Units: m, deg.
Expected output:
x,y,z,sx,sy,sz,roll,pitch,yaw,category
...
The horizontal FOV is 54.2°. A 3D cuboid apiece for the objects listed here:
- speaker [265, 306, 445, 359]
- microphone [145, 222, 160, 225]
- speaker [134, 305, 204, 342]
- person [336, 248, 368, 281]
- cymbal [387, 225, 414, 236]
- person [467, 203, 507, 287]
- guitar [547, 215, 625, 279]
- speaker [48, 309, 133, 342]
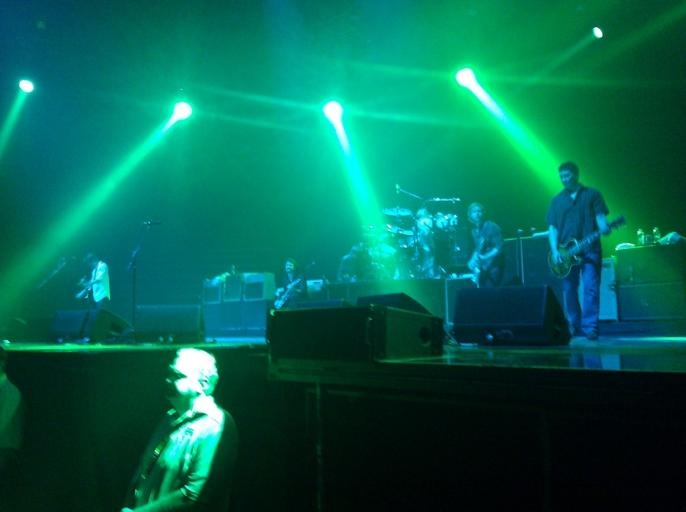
x,y,z,sx,sy,sz,roll,pitch,yaw,category
-0.037,0.544,4.727,0.629,0.254,0.654,-4,-7,39,speaker
-2.599,-0.451,9.063,0.092,0.049,0.106,-8,6,-27,microphone
-1.773,0.682,6.824,0.696,0.386,0.187,2,-11,-22,speaker
0.190,0.126,10.923,0.291,0.615,0.748,4,-12,-27,person
0.898,-0.423,10.925,0.510,0.210,0.166,0,-2,15,cymbal
1.937,-0.160,9.165,0.293,1.150,0.498,7,-14,-39,person
2.654,-0.008,7.642,0.133,0.465,0.698,6,-13,-36,guitar
-2.796,0.744,7.248,0.906,0.391,0.414,-7,-12,25,speaker
